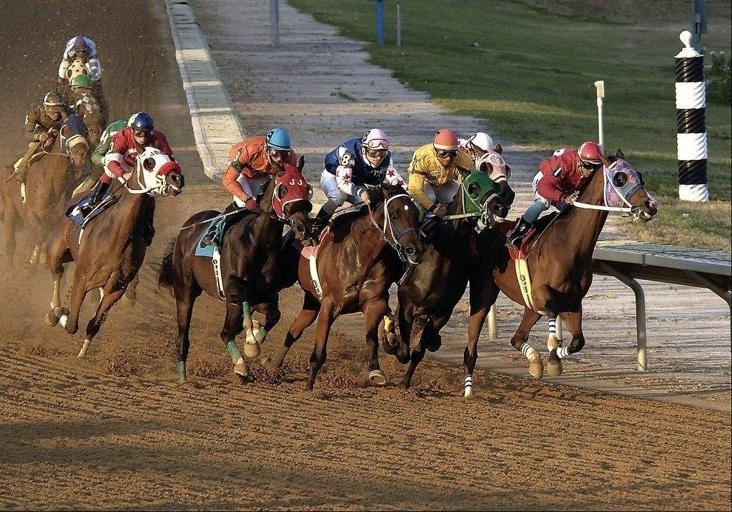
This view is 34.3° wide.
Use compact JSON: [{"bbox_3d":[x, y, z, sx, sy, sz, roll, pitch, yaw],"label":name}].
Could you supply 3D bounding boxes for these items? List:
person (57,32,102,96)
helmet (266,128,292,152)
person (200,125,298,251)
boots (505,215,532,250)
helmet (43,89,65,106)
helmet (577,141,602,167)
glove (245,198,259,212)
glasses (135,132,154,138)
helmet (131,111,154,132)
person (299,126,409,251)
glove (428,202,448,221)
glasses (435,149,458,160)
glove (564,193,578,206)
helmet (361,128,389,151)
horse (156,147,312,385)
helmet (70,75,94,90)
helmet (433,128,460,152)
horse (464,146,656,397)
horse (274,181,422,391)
[{"bbox_3d":[-4.201,-2.833,17.496,0.706,0.423,1.184,-6,-17,-13],"label":"person"},{"bbox_3d":[-0.985,-1.279,13.191,0.253,0.189,0.355,4,21,-24],"label":"helmet"},{"bbox_3d":[-1.135,-0.950,13.745,0.730,1.130,1.650,2,3,-31],"label":"person"},{"bbox_3d":[1.816,-0.293,13.341,0.180,0.371,0.541,-7,12,-27],"label":"boots"},{"bbox_3d":[-4.286,-2.117,16.194,0.226,0.231,0.269,1,27,-10],"label":"helmet"},{"bbox_3d":[2.534,-1.132,13.240,0.228,0.236,0.281,-3,12,-9],"label":"helmet"},{"bbox_3d":[-1.279,-0.576,13.204,0.129,0.130,0.195,-1,11,-6],"label":"glove"},{"bbox_3d":[-2.580,-1.404,13.741,0.183,0.061,0.108,-8,14,-34],"label":"glasses"},{"bbox_3d":[-2.608,-1.536,13.807,0.206,0.219,0.264,4,28,-16],"label":"helmet"},{"bbox_3d":[-0.075,-0.817,13.606,1.041,1.332,1.419,-3,25,-28],"label":"person"},{"bbox_3d":[0.838,-0.494,13.212,0.140,0.180,0.066,5,-2,18],"label":"glove"},{"bbox_3d":[0.900,-1.121,13.190,0.125,0.059,0.143,3,-11,-8],"label":"glasses"},{"bbox_3d":[2.308,-0.631,13.219,0.043,0.127,0.102,40,13,-53],"label":"glove"},{"bbox_3d":[0.114,-1.272,13.291,0.215,0.227,0.269,6,-35,-13],"label":"helmet"},{"bbox_3d":[-1.634,0.295,14.078,0.859,2.563,3.802,4,-3,-31],"label":"horse"},{"bbox_3d":[-3.995,-2.429,16.628,0.206,0.200,0.263,-1,-11,-32],"label":"helmet"},{"bbox_3d":[0.902,-1.287,13.209,0.230,0.231,0.271,1,-3,-8],"label":"helmet"},{"bbox_3d":[2.075,0.339,13.644,0.803,2.564,3.698,8,-13,-23],"label":"horse"},{"bbox_3d":[-0.227,0.419,13.610,0.976,2.359,3.383,5,-8,-23],"label":"horse"}]
